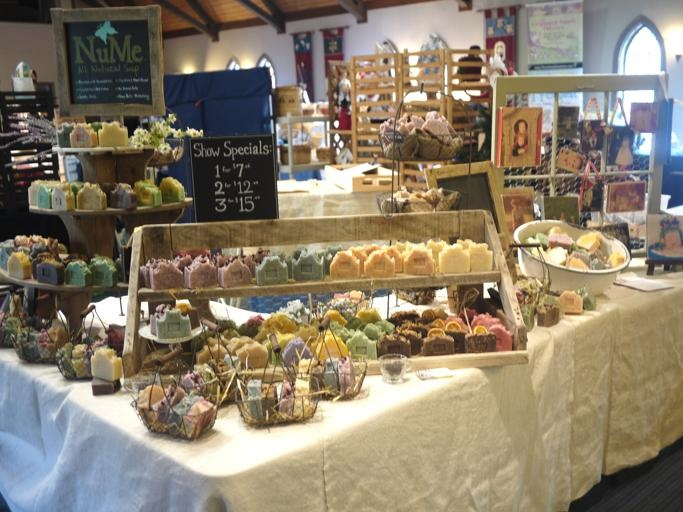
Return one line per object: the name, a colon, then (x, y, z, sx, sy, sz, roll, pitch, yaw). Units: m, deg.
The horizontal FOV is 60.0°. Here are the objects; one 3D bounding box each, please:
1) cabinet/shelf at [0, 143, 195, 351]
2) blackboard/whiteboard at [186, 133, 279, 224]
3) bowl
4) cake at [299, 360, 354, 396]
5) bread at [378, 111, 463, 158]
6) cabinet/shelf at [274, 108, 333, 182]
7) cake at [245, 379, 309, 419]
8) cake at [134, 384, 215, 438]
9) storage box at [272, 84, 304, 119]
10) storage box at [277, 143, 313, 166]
cabinet/shelf: (-1.370, -0.102, 3.699, 0.957, 1.088, 1.058, 0, 8, -7)
blackboard/whiteboard: (-0.529, -0.385, 2.932, 0.450, 0.565, 0.053, -2, 6, -7)
bowl: (1.474, 0.105, 3.705, 0.529, 0.257, 0.555, 13, 29, -7)
cake: (-0.048, 0.528, 2.602, 0.167, 0.134, 0.155, -1, 3, 7)
bread: (0.384, -0.608, 3.074, 0.279, 0.165, 0.295, -4, 7, -44)
cabinet/shelf: (-0.513, -1.538, 9.356, 0.934, 1.370, 1.347, -4, 16, -10)
cake: (-0.263, 0.593, 2.431, 0.191, 0.109, 0.165, 1, -1, 1)
cake: (-0.694, 0.619, 2.417, 0.372, 0.202, 0.132, -1, 11, 18)
storage box: (-0.815, -2.385, 9.142, 0.414, 0.500, 0.460, -1, 7, 0)
storage box: (-0.666, -1.519, 8.810, 0.328, 0.251, 0.367, 1, 10, 1)
